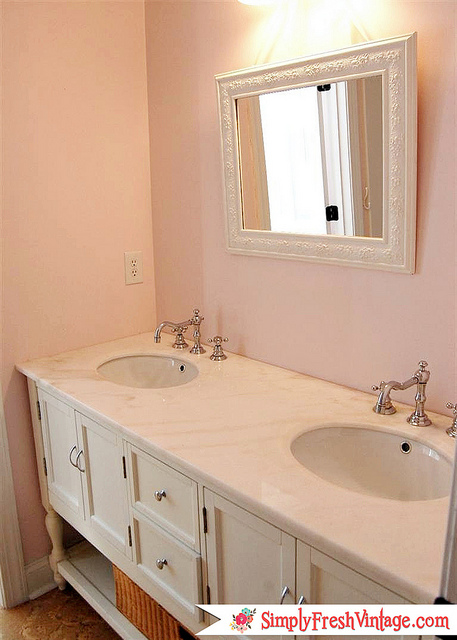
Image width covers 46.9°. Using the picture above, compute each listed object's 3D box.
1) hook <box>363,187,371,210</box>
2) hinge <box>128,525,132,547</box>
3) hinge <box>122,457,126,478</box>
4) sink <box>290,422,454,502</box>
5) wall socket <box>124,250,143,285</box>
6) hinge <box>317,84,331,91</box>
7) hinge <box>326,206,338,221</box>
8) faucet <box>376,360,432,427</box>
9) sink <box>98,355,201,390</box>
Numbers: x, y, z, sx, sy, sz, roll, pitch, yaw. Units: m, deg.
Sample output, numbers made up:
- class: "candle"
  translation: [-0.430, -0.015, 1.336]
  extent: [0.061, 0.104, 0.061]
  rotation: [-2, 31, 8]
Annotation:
- class: "hook"
  translation: [0.355, -0.311, 1.354]
  extent: [0.007, 0.055, 0.026]
  rotation: [-8, 12, -22]
- class: "hinge"
  translation: [-0.271, 0.596, 1.455]
  extent: [0.002, 0.061, 0.018]
  rotation: [-12, 14, -37]
- class: "hinge"
  translation: [-0.281, 0.399, 1.424]
  extent: [0.002, 0.062, 0.015]
  rotation: [-10, 13, -31]
- class: "sink"
  translation: [0.330, 0.336, 1.220]
  extent: [0.330, 0.164, 0.129]
  rotation: [0, 12, 21]
- class: "wall socket"
  translation: [-0.389, -0.215, 2.137]
  extent: [0.015, 0.157, 0.112]
  rotation: [15, 21, 36]
- class: "hinge"
  translation: [0.249, -0.605, 1.378]
  extent: [0.020, 0.021, 0.021]
  rotation: [5, 32, 16]
- class: "hinge"
  translation: [0.278, -0.290, 1.430]
  extent: [0.033, 0.034, 0.008]
  rotation: [10, 17, 44]
- class: "faucet"
  translation: [0.434, 0.187, 1.281]
  extent: [0.143, 0.153, 0.065]
  rotation: [-11, -27, 35]
- class: "sink"
  translation: [-0.252, 0.199, 1.873]
  extent: [0.377, 0.126, 0.176]
  rotation: [-1, 11, 16]
